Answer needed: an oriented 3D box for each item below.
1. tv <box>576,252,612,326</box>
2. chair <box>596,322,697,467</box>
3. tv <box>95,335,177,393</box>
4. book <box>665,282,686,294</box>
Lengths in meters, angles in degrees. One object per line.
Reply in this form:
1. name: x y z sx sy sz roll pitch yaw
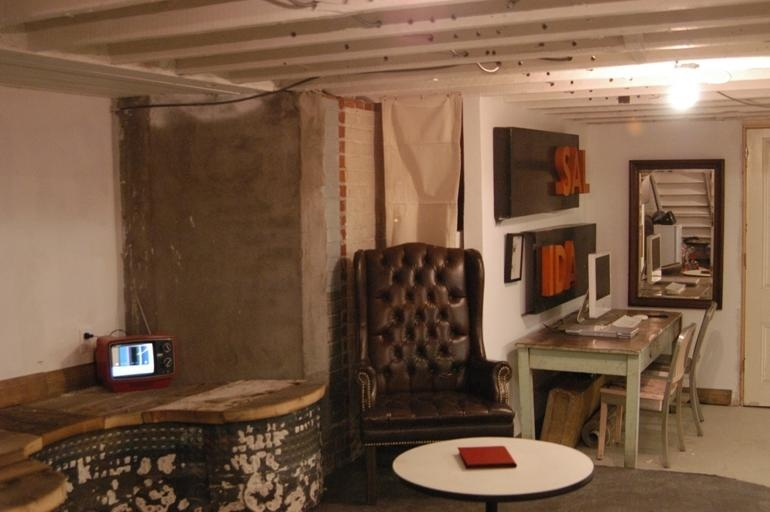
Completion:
1. tv: 2.072 0.273 6.989 0.238 0.598 0.711 11 -8 3
2. chair: 2.451 1.222 6.315 0.828 1.209 0.784 1 5 22
3. tv: -1.914 0.821 5.181 0.502 0.353 0.445 1 -4 -29
4. book: 3.338 0.375 7.725 0.151 0.049 0.147 -5 6 -3
